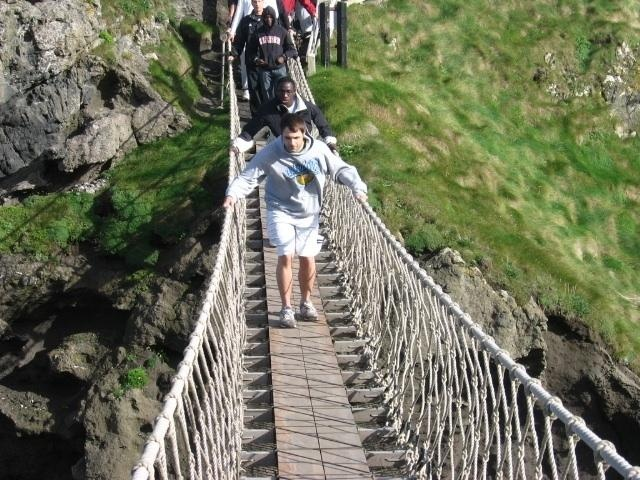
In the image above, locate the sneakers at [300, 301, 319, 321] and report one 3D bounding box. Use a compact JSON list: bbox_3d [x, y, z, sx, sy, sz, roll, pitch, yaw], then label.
[{"bbox_3d":[-0.147,1.004,10.135,0.150,0.159,0.330,0,6,-25],"label":"sneakers"}]
